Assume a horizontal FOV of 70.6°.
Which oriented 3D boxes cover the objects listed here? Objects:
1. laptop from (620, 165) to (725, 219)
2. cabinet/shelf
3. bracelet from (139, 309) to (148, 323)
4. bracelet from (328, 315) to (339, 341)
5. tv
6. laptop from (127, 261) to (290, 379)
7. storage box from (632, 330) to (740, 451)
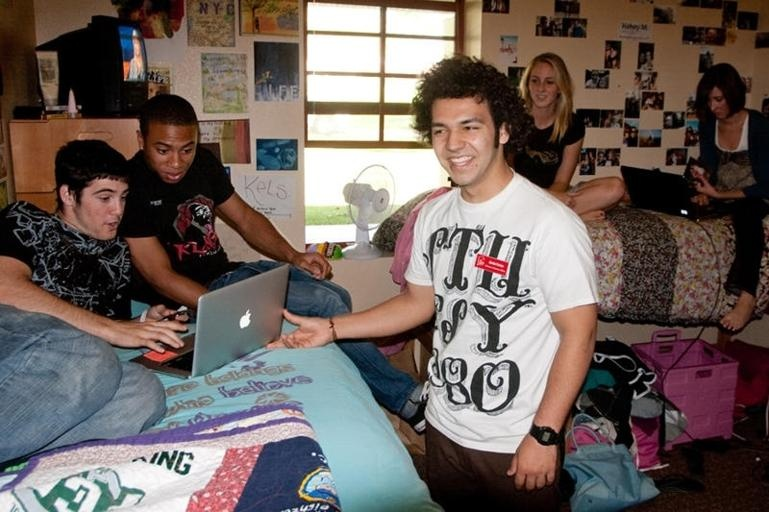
[{"bbox_3d":[2.021,-0.508,3.857,0.423,0.412,0.601,-34,34,-27],"label":"laptop"},{"bbox_3d":[-1.614,-0.487,2.844,0.586,0.517,0.199,-1,11,-5],"label":"cabinet/shelf"},{"bbox_3d":[-1.241,0.307,2.793,0.055,0.071,0.018,11,-4,-8],"label":"bracelet"},{"bbox_3d":[-0.236,0.338,2.459,0.025,0.089,0.062,-5,16,-22],"label":"bracelet"},{"bbox_3d":[-1.632,-1.140,3.436,0.681,0.654,0.572,5,9,9],"label":"tv"},{"bbox_3d":[-0.901,0.283,2.628,0.415,0.508,0.682,21,21,20],"label":"laptop"},{"bbox_3d":[2.021,0.871,3.854,0.737,0.672,0.715,-2,8,-7],"label":"storage box"}]
